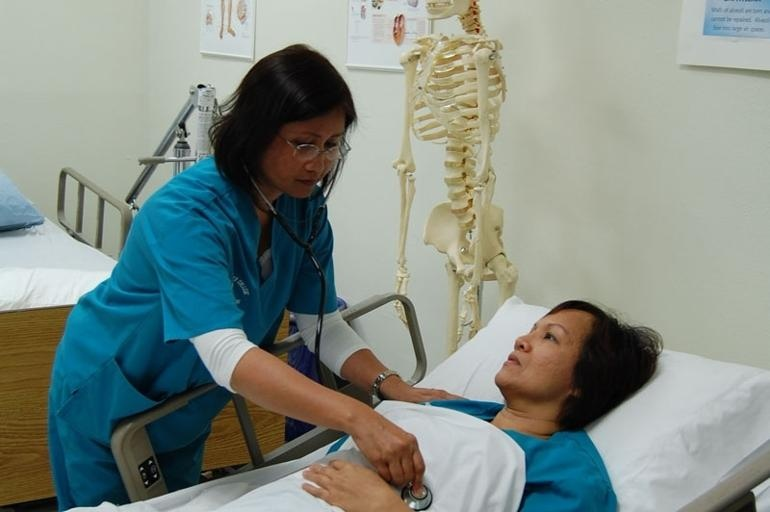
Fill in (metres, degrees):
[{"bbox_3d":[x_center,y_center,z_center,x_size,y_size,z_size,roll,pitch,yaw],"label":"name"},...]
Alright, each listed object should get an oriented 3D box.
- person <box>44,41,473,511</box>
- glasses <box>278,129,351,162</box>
[{"bbox_3d":[-0.404,0.113,1.522,1.061,1.321,0.555,3,12,4],"label":"person"},{"bbox_3d":[-0.152,-0.279,1.472,0.090,0.066,0.240,9,14,26],"label":"glasses"}]
